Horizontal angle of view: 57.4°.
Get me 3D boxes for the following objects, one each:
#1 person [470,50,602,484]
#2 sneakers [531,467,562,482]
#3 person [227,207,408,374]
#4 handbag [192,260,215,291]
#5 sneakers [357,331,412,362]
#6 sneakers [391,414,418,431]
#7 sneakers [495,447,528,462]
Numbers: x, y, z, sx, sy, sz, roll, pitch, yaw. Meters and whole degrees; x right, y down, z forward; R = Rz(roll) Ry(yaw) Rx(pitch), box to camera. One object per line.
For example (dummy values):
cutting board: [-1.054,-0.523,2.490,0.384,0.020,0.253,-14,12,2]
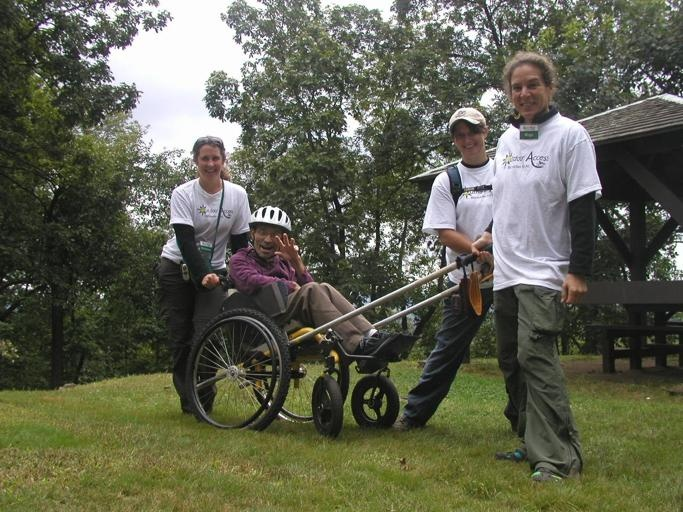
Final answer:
person: [1.469,0.002,4.717,0.552,3.149,0.923,3,-8,-18]
sneakers: [1.392,1.480,4.244,0.194,0.088,0.080,-2,-4,8]
person: [-0.241,0.230,5.583,1.732,1.447,0.778,-6,-9,37]
handbag: [-1.276,0.177,5.723,0.169,0.239,0.141,-22,-38,-15]
sneakers: [0.365,0.757,5.209,0.465,0.219,0.224,-22,-24,36]
sneakers: [0.578,1.484,5.536,0.261,0.114,0.096,12,-13,-28]
sneakers: [1.261,1.478,4.686,0.240,0.109,0.084,2,-3,32]
